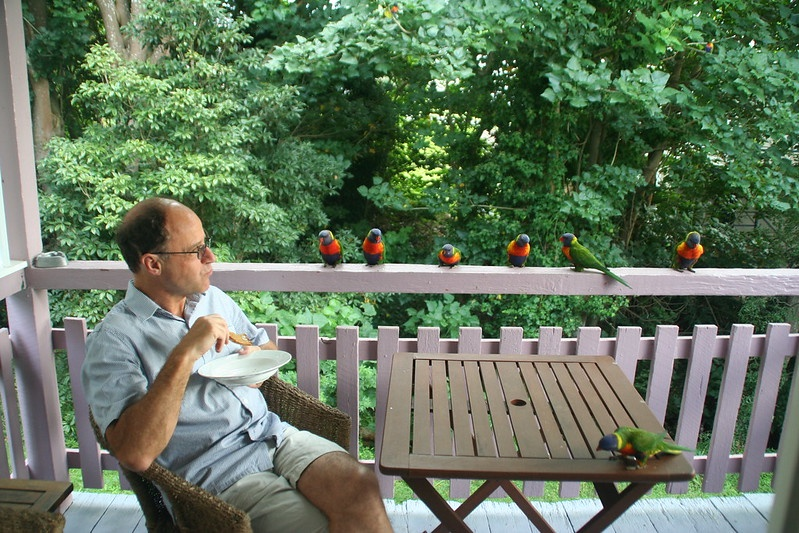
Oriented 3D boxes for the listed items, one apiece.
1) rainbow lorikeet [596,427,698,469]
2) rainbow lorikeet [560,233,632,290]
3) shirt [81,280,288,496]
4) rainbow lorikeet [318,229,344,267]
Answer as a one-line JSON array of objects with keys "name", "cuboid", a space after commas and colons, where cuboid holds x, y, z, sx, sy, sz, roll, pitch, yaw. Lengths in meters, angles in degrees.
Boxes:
[{"name": "rainbow lorikeet", "cuboid": [1.131, 0.807, 2.983, 0.390, 0.163, 0.180, -5, 0, -5]}, {"name": "rainbow lorikeet", "cuboid": [1.203, -0.039, 4.139, 0.576, 0.250, 0.153, 28, 22, 34]}, {"name": "shirt", "cuboid": [-1.100, 0.624, 3.545, 0.593, 1.158, 1.208, -18, -2, 30]}, {"name": "rainbow lorikeet", "cuboid": [-0.450, -0.111, 4.227, 0.137, 0.249, 0.270, 2, 3, 16]}]
